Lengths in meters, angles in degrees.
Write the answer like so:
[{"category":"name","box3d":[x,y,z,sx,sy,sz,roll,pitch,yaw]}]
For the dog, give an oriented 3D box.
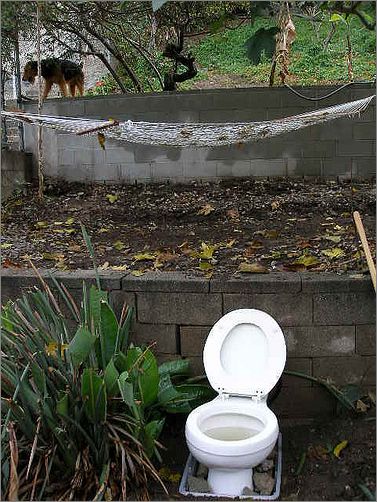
[{"category":"dog","box3d":[-1.560,-1.946,6.586,0.465,0.524,0.922,0,9,12]}]
